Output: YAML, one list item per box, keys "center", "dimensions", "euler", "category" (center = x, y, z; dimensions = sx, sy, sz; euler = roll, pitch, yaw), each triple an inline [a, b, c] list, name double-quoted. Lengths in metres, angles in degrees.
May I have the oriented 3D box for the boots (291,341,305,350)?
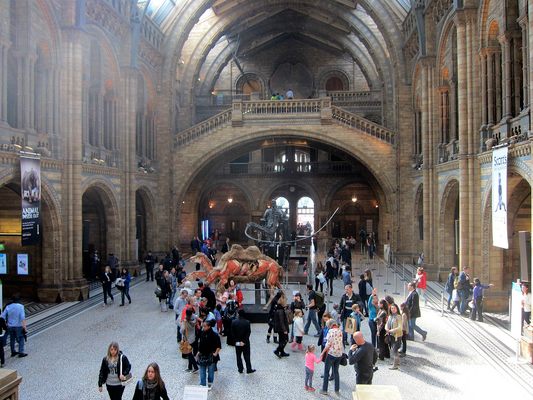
- center: [1.083, 4.860, 18.370]
  dimensions: [0.402, 0.429, 0.201]
  euler: [-5, -4, 25]
  category: "boots"

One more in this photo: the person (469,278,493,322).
- center: [7.898, 3.598, 20.295]
  dimensions: [0.546, 1.635, 0.792]
  euler: [4, -1, 7]
  category: "person"

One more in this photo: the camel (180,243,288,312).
- center: [-1.161, 2.816, 21.689]
  dimensions: [3.850, 2.620, 1.696]
  euler: [0, -15, 2]
  category: "camel"

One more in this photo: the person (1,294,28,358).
- center: [-8.303, 4.181, 18.398]
  dimensions: [0.665, 1.982, 0.937]
  euler: [0, -1, -13]
  category: "person"

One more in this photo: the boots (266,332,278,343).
- center: [0.197, 4.727, 18.798]
  dimensions: [0.349, 0.359, 0.298]
  euler: [1, -15, -3]
  category: "boots"
